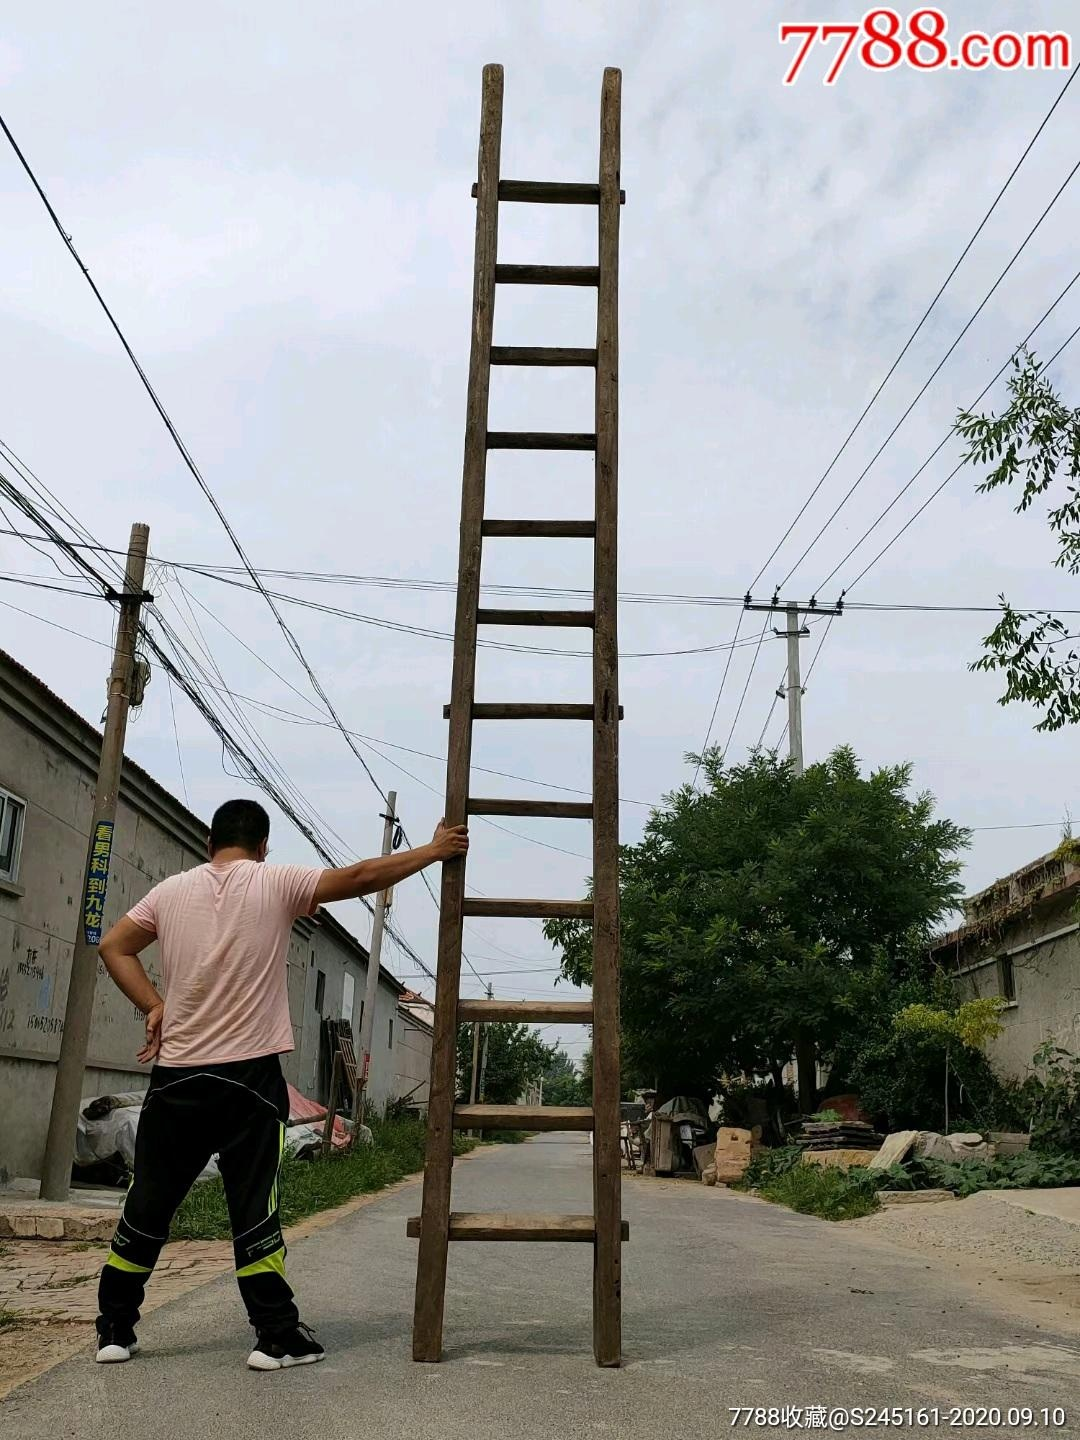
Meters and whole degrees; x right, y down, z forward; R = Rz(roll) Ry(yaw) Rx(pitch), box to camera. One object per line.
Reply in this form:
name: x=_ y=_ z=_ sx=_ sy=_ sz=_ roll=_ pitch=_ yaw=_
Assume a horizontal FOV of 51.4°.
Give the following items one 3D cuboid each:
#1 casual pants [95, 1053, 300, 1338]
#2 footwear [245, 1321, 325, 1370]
casual pants: x=-1.013 y=1.340 z=3.418 sx=0.581 sy=0.989 sz=0.291 roll=5 pitch=10 yaw=-5
footwear: x=-0.719 y=1.731 z=3.232 sx=0.227 sy=0.112 sz=0.095 roll=13 pitch=-27 yaw=-32
